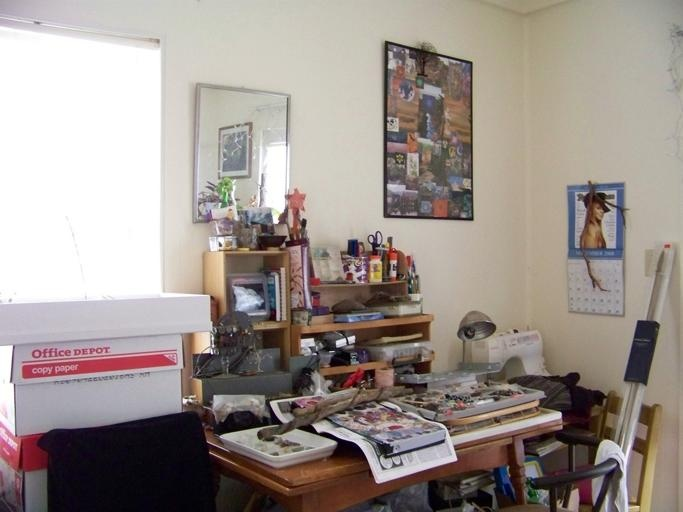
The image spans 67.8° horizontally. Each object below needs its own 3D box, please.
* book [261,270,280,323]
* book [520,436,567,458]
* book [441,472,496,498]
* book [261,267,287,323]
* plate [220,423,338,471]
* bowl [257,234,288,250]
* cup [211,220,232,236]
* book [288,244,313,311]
[{"bbox_3d":[-0.384,0.238,2.877,0.048,0.213,0.206,-2,8,-13],"label":"book"},{"bbox_3d":[1.370,1.277,3.434,0.260,0.064,0.261,-5,0,-35],"label":"book"},{"bbox_3d":[0.743,1.332,2.985,0.174,0.055,0.174,1,-5,-32],"label":"book"},{"bbox_3d":[-0.379,0.237,2.864,0.098,0.296,0.289,-6,3,-17],"label":"book"},{"bbox_3d":[-0.249,0.801,2.111,0.205,0.046,0.320,4,-5,-40],"label":"plate"},{"bbox_3d":[-0.377,-0.086,2.988,0.159,0.091,0.273,2,7,21],"label":"bowl"},{"bbox_3d":[-0.657,-0.151,2.793,0.099,0.090,0.080,-1,1,-23],"label":"cup"},{"bbox_3d":[-0.237,0.117,2.929,0.144,0.368,0.110,1,6,12],"label":"book"}]
